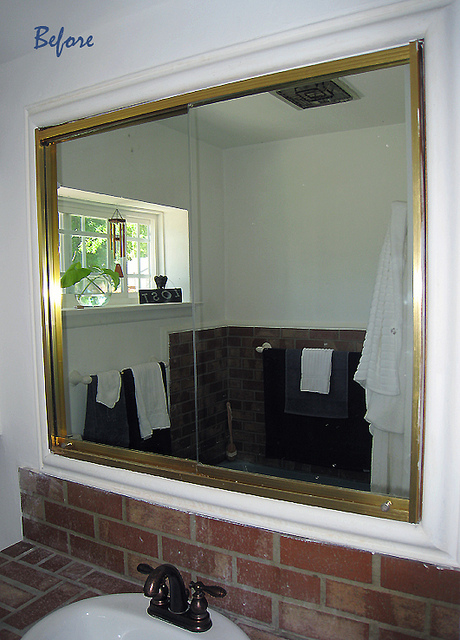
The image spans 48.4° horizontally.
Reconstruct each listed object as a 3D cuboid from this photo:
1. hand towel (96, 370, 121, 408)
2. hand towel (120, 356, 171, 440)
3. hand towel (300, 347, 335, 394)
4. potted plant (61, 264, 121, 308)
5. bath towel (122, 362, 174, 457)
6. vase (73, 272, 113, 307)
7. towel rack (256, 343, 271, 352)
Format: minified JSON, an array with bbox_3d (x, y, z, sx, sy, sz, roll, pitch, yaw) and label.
[{"bbox_3d":[-0.313,0.175,1.289,0.064,0.084,0.030,0,-6,-1],"label":"hand towel"},{"bbox_3d":[-0.204,0.199,1.248,0.133,0.201,0.043,-22,-37,4],"label":"hand towel"},{"bbox_3d":[0.147,0.088,0.883,0.063,0.083,0.011,5,10,39],"label":"hand towel"},{"bbox_3d":[-0.366,-0.085,1.330,0.108,0.082,0.109,0,0,-5],"label":"potted plant"},{"bbox_3d":[-0.202,0.235,1.225,0.165,0.318,0.037,0,23,2],"label":"bath towel"},{"bbox_3d":[-0.359,-0.072,1.339,0.087,0.081,0.085,1,-2,-32],"label":"vase"},{"bbox_3d":[0.060,0.051,0.923,0.029,0.018,0.002,4,9,34],"label":"towel rack"}]
